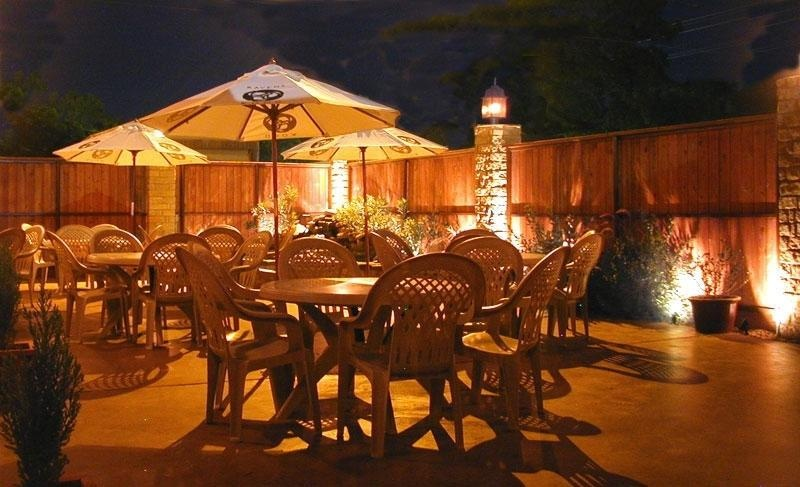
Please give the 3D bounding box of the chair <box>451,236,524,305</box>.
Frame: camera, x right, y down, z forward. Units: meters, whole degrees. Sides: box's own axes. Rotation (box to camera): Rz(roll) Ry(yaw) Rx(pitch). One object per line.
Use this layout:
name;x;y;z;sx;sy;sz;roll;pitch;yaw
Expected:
chair;1.059;0.288;8.500;0.804;1.130;0.817;-1;14;-8

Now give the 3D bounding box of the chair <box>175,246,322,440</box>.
chair;-1.605;0.905;8.180;1.859;2.600;1.623;-2;5;-24

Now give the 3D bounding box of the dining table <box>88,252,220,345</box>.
dining table;-3.870;0.753;9.961;1.289;0.999;1.317;2;2;3

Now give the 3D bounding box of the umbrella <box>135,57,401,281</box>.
umbrella;-1.765;-1.500;8.872;2.669;1.924;2.631;-1;-3;-25

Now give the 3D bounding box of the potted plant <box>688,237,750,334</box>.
potted plant;4.750;0.685;10.569;0.732;1.271;0.595;1;2;35

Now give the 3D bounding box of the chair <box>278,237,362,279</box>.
chair;-0.982;0.224;8.489;0.612;0.605;0.784;-11;-11;-5

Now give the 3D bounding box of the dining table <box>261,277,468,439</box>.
dining table;-0.497;1.076;7.544;1.600;1.241;1.650;0;3;16

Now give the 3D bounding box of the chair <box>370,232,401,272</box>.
chair;-0.252;0.134;9.042;0.443;0.599;0.446;-9;8;-5

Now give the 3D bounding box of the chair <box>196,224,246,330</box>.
chair;-2.732;0.196;10.820;0.835;1.111;0.841;0;19;-9

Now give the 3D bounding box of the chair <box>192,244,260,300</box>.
chair;-2.005;0.353;8.168;0.701;0.937;0.687;-2;3;-8

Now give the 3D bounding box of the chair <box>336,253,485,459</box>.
chair;0.096;1.064;6.942;1.392;1.961;0.667;0;1;-7

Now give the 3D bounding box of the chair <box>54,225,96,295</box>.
chair;-5.456;0.115;12.299;0.788;0.917;0.709;1;-6;-33
